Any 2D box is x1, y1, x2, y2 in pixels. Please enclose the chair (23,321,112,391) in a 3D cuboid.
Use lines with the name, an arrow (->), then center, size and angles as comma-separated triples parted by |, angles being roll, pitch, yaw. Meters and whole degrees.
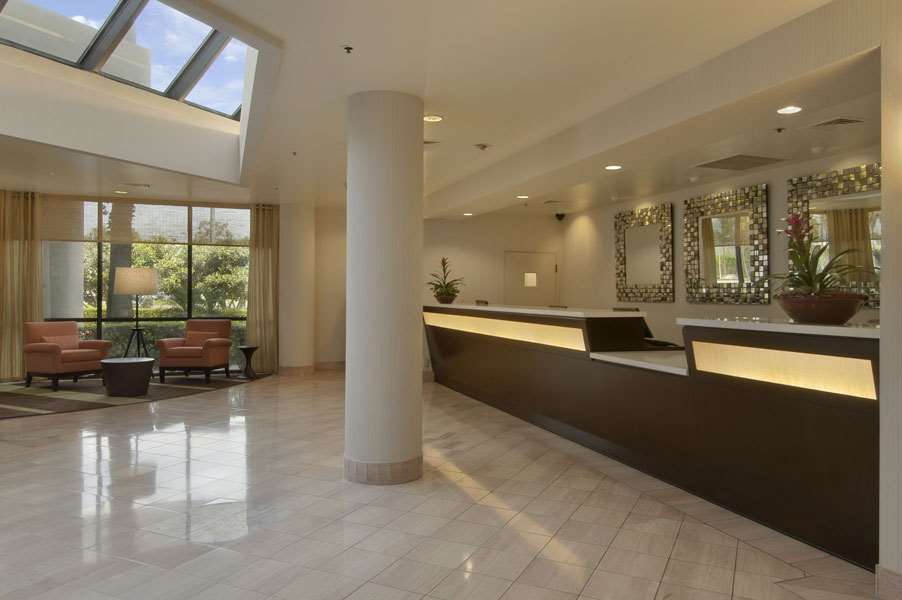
chair -> -7.369, 1.028, 10.862 | 1.179, 1.296, 1.308 | -6, -4, 43

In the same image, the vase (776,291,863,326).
vase -> 3.018, 0.068, 4.592 | 0.378, 0.167, 0.377 | 0, -6, 2

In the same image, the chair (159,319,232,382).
chair -> -5.328, 1.011, 11.776 | 1.449, 1.228, 1.484 | 3, -6, -39

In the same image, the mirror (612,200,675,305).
mirror -> 3.550, -0.882, 10.291 | 0.160, 2.385, 1.960 | 0, 0, -28

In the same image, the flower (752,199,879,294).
flower -> 3.173, -0.337, 4.799 | 0.837, 0.674, 0.958 | 3, 1, -6

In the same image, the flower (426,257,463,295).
flower -> -0.087, -0.441, 11.071 | 0.721, 0.688, 0.718 | 3, -5, -37

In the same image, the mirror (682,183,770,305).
mirror -> 4.348, -0.883, 8.804 | 0.104, 2.211, 1.893 | 2, -4, -27

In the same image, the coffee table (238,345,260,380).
coffee table -> -4.325, 1.355, 12.136 | 0.622, 0.642, 0.628 | 0, -6, -3
